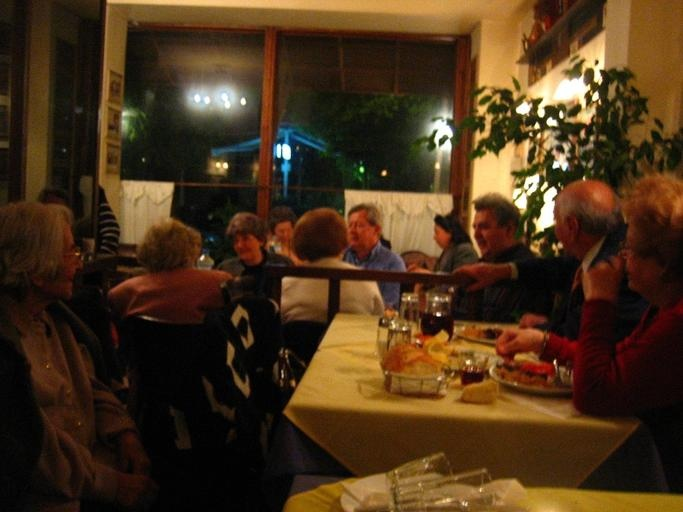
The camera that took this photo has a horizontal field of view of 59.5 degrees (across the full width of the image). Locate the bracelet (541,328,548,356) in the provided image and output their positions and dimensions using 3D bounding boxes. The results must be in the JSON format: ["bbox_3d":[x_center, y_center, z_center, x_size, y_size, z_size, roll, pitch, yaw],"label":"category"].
[{"bbox_3d":[0.678,0.286,2.005,0.017,0.058,0.049,9,12,16],"label":"bracelet"}]

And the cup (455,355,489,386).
[{"bbox_3d":[0.408,0.349,1.876,0.080,0.092,0.081,-1,-3,0],"label":"cup"}]

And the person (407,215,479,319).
[{"bbox_3d":[0.727,0.103,4.399,0.542,0.868,0.473,7,6,43],"label":"person"}]

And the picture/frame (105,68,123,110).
[{"bbox_3d":[-2.524,-1.933,6.731,0.319,0.341,0.030,26,27,36],"label":"picture/frame"}]

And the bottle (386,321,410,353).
[{"bbox_3d":[0.193,0.260,2.001,0.081,0.152,0.087,0,0,0],"label":"bottle"}]

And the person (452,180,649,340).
[{"bbox_3d":[0.894,-0.018,2.719,0.723,0.766,0.481,6,3,12],"label":"person"}]

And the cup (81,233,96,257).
[{"bbox_3d":[-1.424,-0.057,3.405,0.087,0.163,0.092,-1,2,0],"label":"cup"}]
